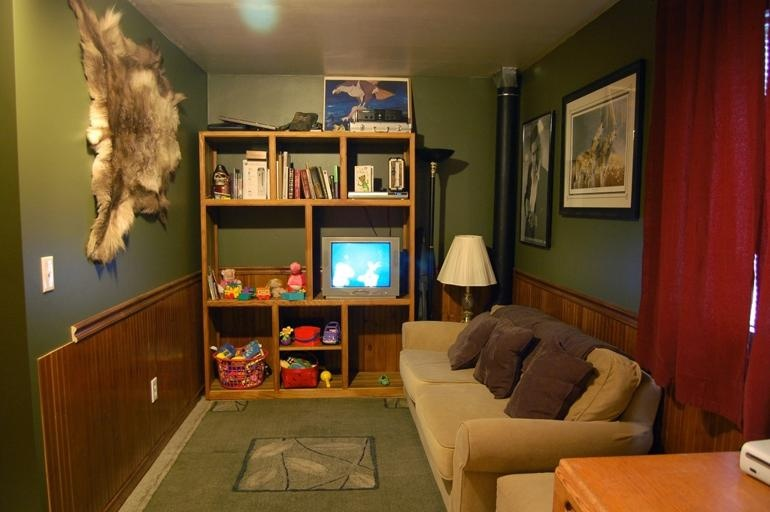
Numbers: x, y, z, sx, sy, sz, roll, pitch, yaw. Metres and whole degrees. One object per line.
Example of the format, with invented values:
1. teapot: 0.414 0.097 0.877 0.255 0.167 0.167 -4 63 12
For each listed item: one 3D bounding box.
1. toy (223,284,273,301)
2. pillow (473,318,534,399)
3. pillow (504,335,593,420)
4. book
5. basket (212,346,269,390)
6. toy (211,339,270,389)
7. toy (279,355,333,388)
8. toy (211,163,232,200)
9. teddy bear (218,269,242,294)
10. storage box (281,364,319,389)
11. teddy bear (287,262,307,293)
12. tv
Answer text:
1. toy: -1.160 0.300 5.090 0.421 0.115 0.200 -2 8 -10
2. pillow: 0.796 0.692 4.167 0.271 0.455 0.538 -6 7 -10
3. pillow: 0.980 0.764 3.592 0.130 0.428 0.428 30 5 -26
4. book: -0.850 -0.687 5.115 0.930 0.404 0.334 -2 8 -6
5. basket: -1.222 0.958 5.098 0.343 0.225 0.343 -4 4 -19
6. toy: -1.211 0.927 5.074 0.402 0.279 0.404 1 4 -2
7. toy: -0.685 0.978 5.138 0.331 0.144 0.261 0 -2 -15
8. toy: -1.362 -0.620 5.047 0.149 0.264 0.115 -4 8 -17
9. teddy bear: -1.338 0.222 5.223 0.197 0.213 0.202 0 -9 -14
10. storage box: -0.732 1.012 5.119 0.314 0.189 0.138 -2 8 -7
11. teddy bear: -0.757 0.166 5.157 0.149 0.234 0.204 -2 8 -8
12. tv: -0.200 0.091 5.159 0.812 0.610 0.454 0 -2 1
